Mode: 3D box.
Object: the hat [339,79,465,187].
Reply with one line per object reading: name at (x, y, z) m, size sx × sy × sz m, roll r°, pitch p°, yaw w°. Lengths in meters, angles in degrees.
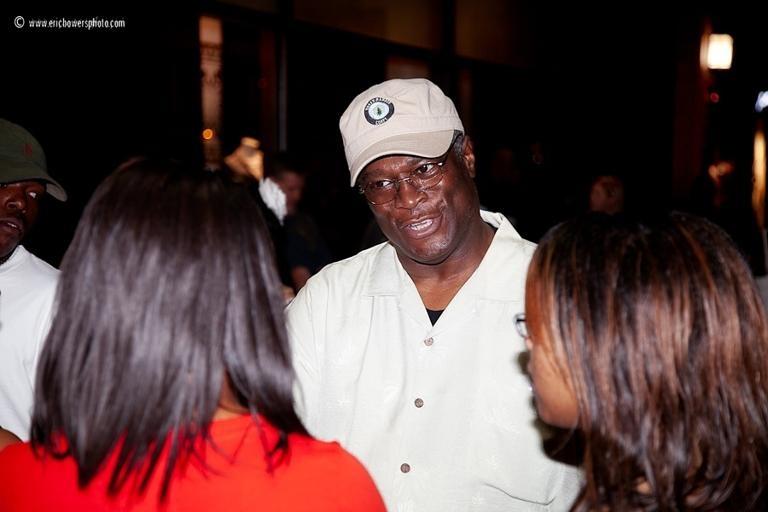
hat at (0.099, -0.594, 3.075) m, size 0.415 × 0.281 × 0.543 m, roll -23°, pitch 5°, yaw 24°
